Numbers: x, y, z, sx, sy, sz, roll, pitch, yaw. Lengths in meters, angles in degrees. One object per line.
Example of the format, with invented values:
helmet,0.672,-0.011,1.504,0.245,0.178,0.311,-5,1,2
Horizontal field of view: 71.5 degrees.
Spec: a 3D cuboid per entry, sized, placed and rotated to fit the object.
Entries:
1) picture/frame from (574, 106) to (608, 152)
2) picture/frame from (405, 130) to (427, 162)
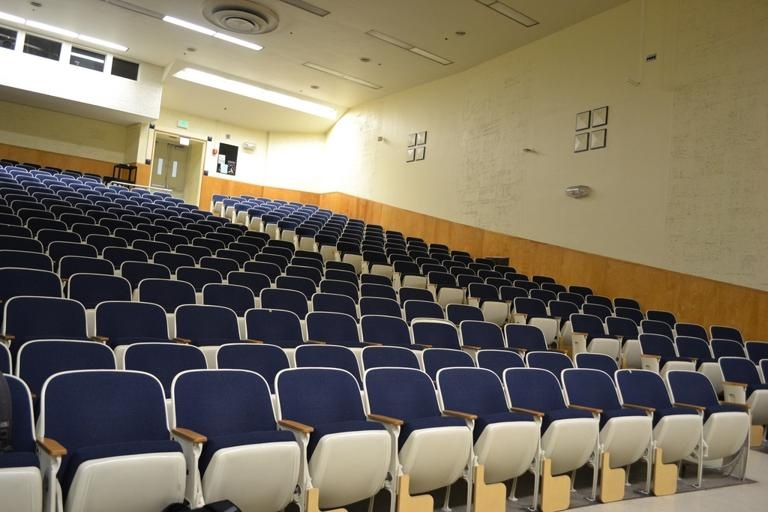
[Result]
picture/frame,3.291,-1.998,8.449,0.092,0.875,0.727,8,-8,-30
picture/frame,0.712,-2.412,11.726,0.075,0.764,0.715,9,-8,-29
